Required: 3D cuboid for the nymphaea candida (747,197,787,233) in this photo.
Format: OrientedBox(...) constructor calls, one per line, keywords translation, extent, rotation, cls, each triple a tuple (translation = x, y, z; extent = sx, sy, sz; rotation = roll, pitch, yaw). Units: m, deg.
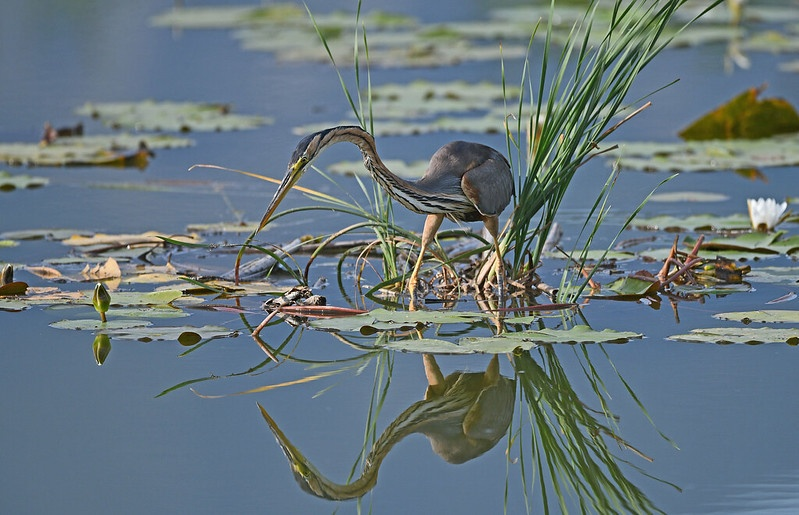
OrientedBox(translation=(3.688, -0.430, 9.725), extent=(0.382, 0.172, 0.355), rotation=(3, -5, -5), cls="nymphaea candida")
